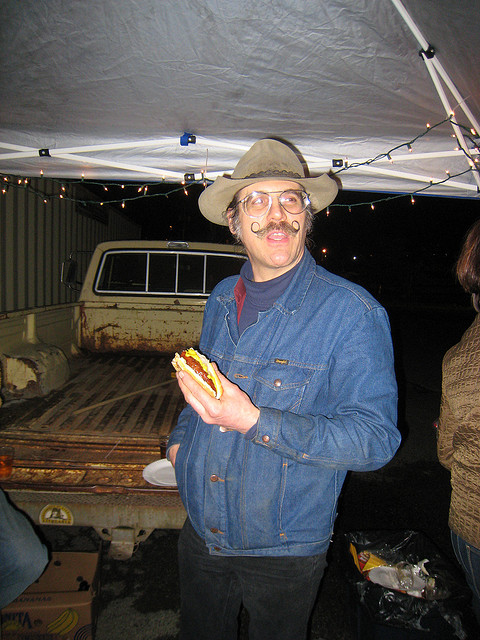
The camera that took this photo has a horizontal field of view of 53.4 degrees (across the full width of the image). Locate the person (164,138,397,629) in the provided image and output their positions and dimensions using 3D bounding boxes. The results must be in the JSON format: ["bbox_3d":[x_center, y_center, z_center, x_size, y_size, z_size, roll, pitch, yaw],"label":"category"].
[{"bbox_3d":[0.087,0.296,1.901,0.752,2.031,0.944,1,9,-19],"label":"person"}]

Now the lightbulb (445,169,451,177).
[{"bbox_3d":[1.814,-1.283,4.136,0.033,0.029,0.136,0,-25,32],"label":"lightbulb"}]

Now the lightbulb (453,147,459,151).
[{"bbox_3d":[1.698,-1.339,3.717,0.024,0.018,0.027,6,26,17],"label":"lightbulb"}]

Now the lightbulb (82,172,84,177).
[{"bbox_3d":[-1.520,-1.401,4.591,0.017,0.027,0.017,3,-2,-27],"label":"lightbulb"}]

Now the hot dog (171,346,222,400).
[{"bbox_3d":[-0.136,0.182,1.657,0.115,0.074,0.217,-13,48,-41],"label":"hot dog"}]
